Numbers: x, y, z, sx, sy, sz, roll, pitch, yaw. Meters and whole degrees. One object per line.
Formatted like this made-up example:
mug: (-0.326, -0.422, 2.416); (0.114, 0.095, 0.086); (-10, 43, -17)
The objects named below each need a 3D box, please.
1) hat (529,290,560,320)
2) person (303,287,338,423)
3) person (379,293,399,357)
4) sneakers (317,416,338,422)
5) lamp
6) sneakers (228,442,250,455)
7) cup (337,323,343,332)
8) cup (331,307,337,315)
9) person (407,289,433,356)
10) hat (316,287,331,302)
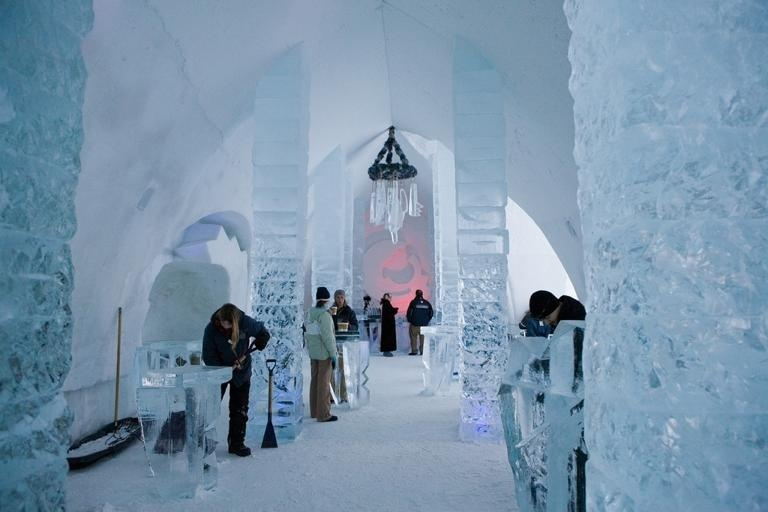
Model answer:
hat: (1.178, 0.361, 3.896); (0.183, 0.185, 0.243); (17, -7, -10)
person: (-0.728, 1.145, 6.065); (0.330, 1.549, 0.556); (-2, -8, -7)
person: (0.110, 1.756, 13.498); (0.446, 1.621, 0.860); (-3, -8, 0)
sneakers: (-0.651, 1.875, 6.015); (0.209, 0.090, 0.078); (0, -2, -10)
lamp: (0.234, -1.442, 10.386); (0.965, 2.345, 0.951); (0, 7, 22)
sneakers: (-1.316, 1.773, 4.773); (0.219, 0.101, 0.089); (-2, -3, 15)
cup: (-0.585, 0.951, 6.897); (0.076, 0.150, 0.078); (-1, -3, 0)
cup: (-0.684, 0.743, 7.138); (0.080, 0.081, 0.081); (-1, -7, 0)
person: (0.909, 1.637, 12.889); (0.607, 1.619, 1.930); (-3, -8, 3)
hat: (-0.709, 0.449, 6.117); (0.153, 0.157, 0.143); (-1, 4, -18)
